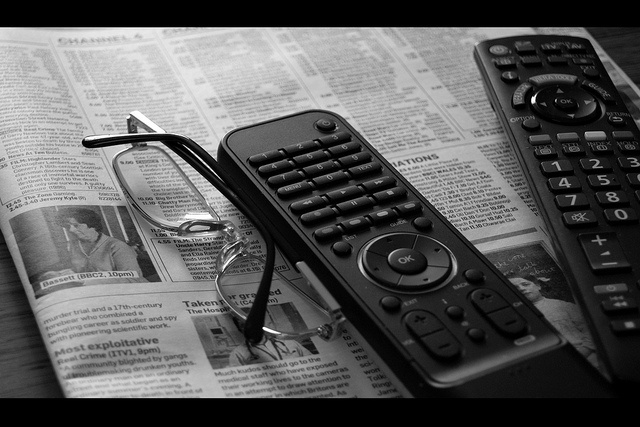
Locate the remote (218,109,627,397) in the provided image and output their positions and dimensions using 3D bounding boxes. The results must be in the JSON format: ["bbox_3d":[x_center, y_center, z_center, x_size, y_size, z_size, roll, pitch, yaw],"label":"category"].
[{"bbox_3d":[0.033,0.019,0.367,0.110,0.308,0.039,-23,-36,-26],"label":"remote"}]
